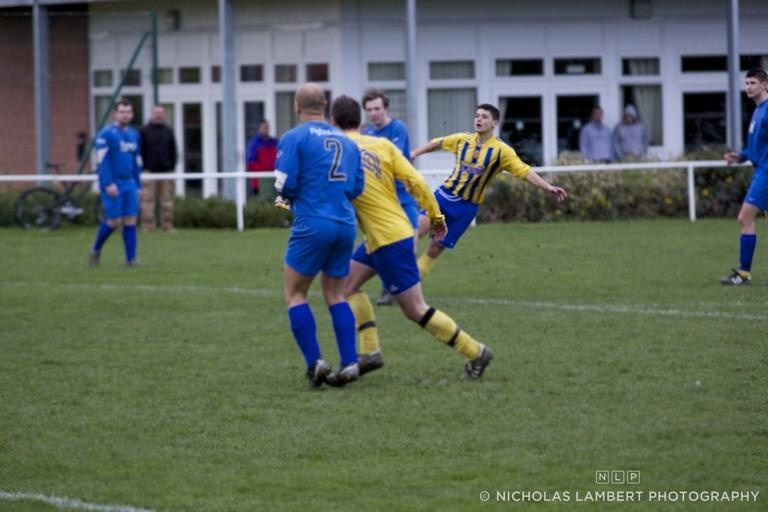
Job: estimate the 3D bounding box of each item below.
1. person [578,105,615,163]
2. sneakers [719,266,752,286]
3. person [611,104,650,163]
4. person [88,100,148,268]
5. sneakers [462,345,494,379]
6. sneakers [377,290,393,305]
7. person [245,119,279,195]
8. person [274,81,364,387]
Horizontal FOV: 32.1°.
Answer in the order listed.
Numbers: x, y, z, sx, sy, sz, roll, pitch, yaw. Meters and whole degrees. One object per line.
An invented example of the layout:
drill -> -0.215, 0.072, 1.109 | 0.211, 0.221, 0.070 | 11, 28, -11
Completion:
person -> 3.697, -2.107, 23.237 | 0.551, 0.907, 1.321 | 1, 4, 8
sneakers -> 4.591, 0.292, 17.628 | 0.454, 0.269, 0.172 | 1, -1, 0
person -> 4.180, -2.021, 22.656 | 0.575, 0.798, 0.878 | 1, 4, 10
person -> -3.731, -1.002, 18.647 | 0.689, 2.306, 0.660 | -1, 4, -29
sneakers -> 1.049, 1.189, 14.729 | 0.249, 0.523, 0.176 | 12, 27, -5
sneakers -> 0.015, 0.537, 17.108 | 0.205, 0.229, 0.138 | 2, -5, 4
person -> -2.201, -1.769, 24.051 | 0.564, 1.299, 1.449 | 0, 4, -6
person -> -0.709, -0.230, 14.690 | 0.942, 3.303, 0.349 | 0, 3, -2
